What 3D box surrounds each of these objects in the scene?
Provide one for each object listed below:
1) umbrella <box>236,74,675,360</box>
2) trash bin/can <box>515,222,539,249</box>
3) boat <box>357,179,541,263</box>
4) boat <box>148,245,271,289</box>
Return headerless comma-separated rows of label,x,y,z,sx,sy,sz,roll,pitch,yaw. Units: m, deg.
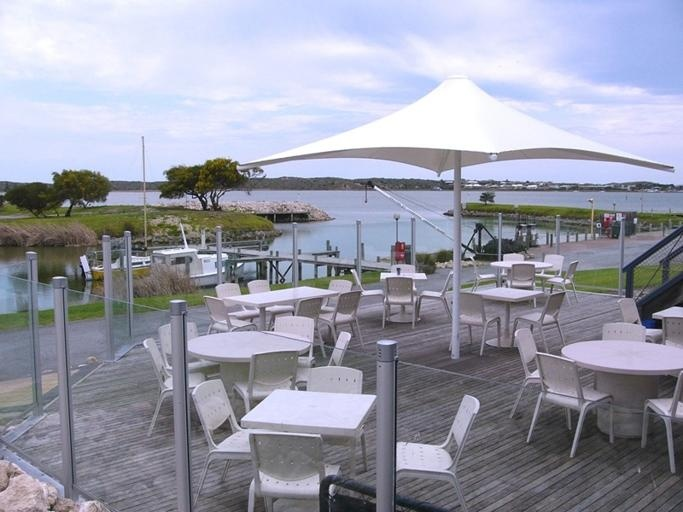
umbrella,1.526,-1.551,8.654,4.500,3.282,4.663,0,5,3
trash bin/can,4.533,-0.499,13.810,0.540,0.741,0.561,2,8,30
boat,2.444,-0.766,13.691,4.079,2.236,1.127,8,30,7
boat,-4.584,0.519,19.067,1.374,1.528,4.481,-2,4,29
